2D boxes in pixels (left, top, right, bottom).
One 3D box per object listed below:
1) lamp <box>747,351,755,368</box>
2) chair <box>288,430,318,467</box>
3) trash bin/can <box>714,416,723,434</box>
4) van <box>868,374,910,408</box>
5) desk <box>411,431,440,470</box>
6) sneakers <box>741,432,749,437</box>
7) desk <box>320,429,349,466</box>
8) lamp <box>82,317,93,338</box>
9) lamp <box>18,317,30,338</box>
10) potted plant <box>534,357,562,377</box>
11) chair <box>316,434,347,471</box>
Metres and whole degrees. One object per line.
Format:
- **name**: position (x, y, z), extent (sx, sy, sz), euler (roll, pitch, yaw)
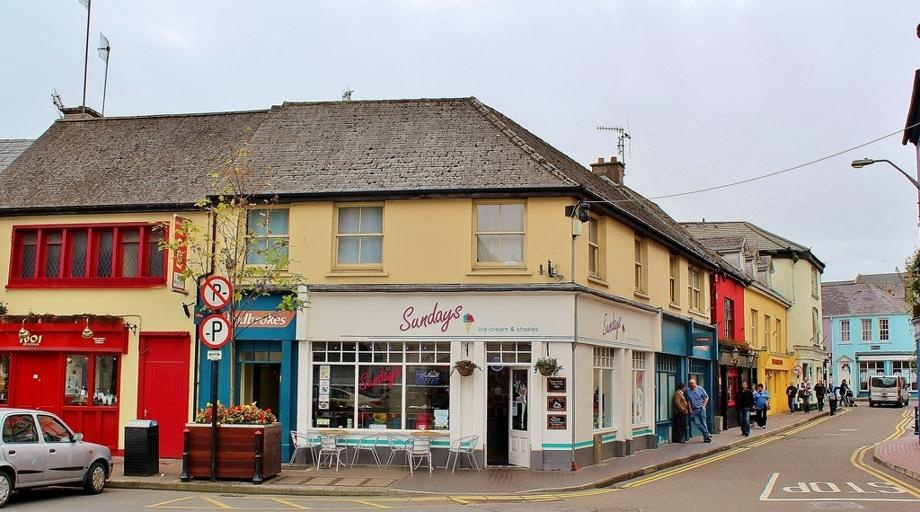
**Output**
- **lamp**: position (16.528, 5.784, 57.009), extent (0.384, 0.794, 2.113), euler (1, 0, 21)
- **chair**: position (-6.355, 7.648, 40.122), extent (1.266, 1.514, 1.325), euler (-3, -6, 6)
- **trash bin/can**: position (13.090, 8.523, 51.119), extent (0.477, 0.782, 0.846), euler (-1, -5, 19)
- **van**: position (32.012, 9.960, 75.415), extent (2.331, 1.844, 3.959), euler (-1, -1, 26)
- **desk**: position (-1.615, 7.456, 39.440), extent (1.267, 1.818, 1.388), euler (0, 3, -6)
- **sneakers**: position (14.042, 8.736, 49.416), extent (0.142, 0.165, 0.412), euler (1, -3, 28)
- **desk**: position (-5.176, 7.589, 40.012), extent (1.235, 1.761, 1.351), euler (0, 0, 1)
- **lamp**: position (-15.363, 2.992, 41.619), extent (0.716, 0.746, 0.738), euler (0, 1, -19)
- **lamp**: position (-18.035, 2.930, 41.626), extent (0.406, 0.904, 0.103), euler (1, 0, -10)
- **potted plant**: position (3.508, 4.317, 39.633), extent (0.820, 0.514, 0.785), euler (0, -3, 2)
- **chair**: position (-5.168, 7.659, 39.682), extent (1.160, 1.688, 1.295), euler (0, 0, 10)
